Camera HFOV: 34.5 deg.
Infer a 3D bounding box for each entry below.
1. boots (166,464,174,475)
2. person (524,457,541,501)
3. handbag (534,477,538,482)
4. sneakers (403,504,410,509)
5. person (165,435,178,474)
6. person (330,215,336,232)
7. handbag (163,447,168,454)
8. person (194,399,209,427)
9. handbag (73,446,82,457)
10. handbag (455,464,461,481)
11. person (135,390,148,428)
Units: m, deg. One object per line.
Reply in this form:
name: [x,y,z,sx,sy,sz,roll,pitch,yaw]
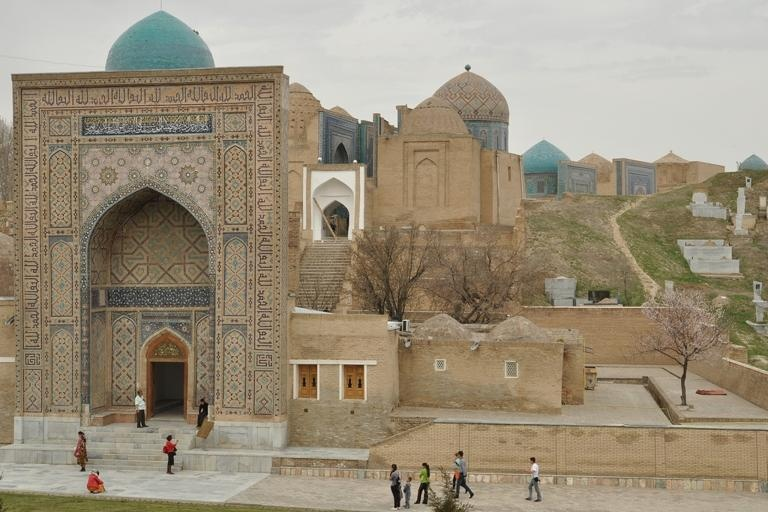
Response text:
boots: [-5.228,5.203,30.263,0.283,0.292,0.186,-1,-4,-5]
person: [3.444,5.157,28.890,0.346,0.951,1.134,-3,-5,6]
handbag: [3.471,5.132,28.530,0.130,0.087,0.184,-1,-16,6]
sneakers: [0.508,5.660,28.110,0.144,0.128,0.082,2,0,30]
person: [-5.253,4.850,30.406,0.281,0.929,0.764,-2,-6,-7]
person: [-1.887,-1.251,46.942,0.161,0.641,0.600,0,-6,-19]
handbag: [-5.307,4.724,30.134,0.135,0.156,0.164,-3,-2,2]
person: [-4.587,3.946,31.238,0.315,0.719,0.723,-2,-5,-7]
handbag: [-7.579,4.805,30.488,0.116,0.241,0.183,11,-29,4]
handbag: [1.657,4.979,28.510,0.139,0.328,0.124,-1,-6,-11]
person: [-6.234,3.886,31.651,0.290,0.941,0.655,-1,-6,-11]
